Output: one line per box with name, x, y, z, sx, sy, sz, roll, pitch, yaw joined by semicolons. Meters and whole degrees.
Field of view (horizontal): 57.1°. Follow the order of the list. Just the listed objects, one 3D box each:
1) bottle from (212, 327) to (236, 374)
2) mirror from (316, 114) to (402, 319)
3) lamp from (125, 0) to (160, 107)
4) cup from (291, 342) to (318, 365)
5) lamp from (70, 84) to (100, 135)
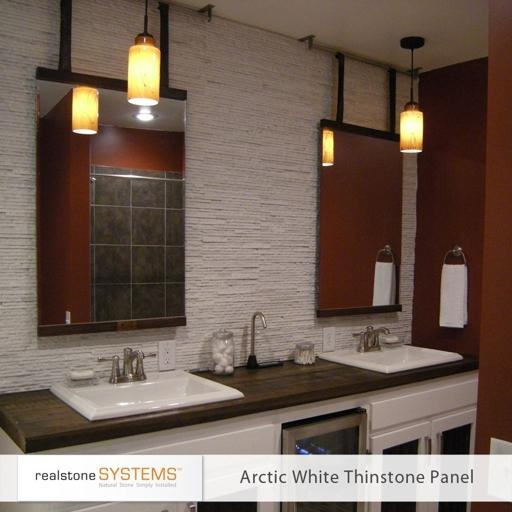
bottle;-0.160;0.462;2.257;0.111;0.198;0.114;1;-1;0
mirror;0.659;-0.221;2.923;0.713;1.160;0.057;1;-1;-34
lamp;-0.383;-0.650;1.609;0.100;0.212;0.099;1;-1;-20
cup;0.257;0.521;2.554;0.095;0.100;0.104;1;-2;0
lamp;-0.694;-0.595;1.909;0.097;0.152;0.061;1;-1;-30
